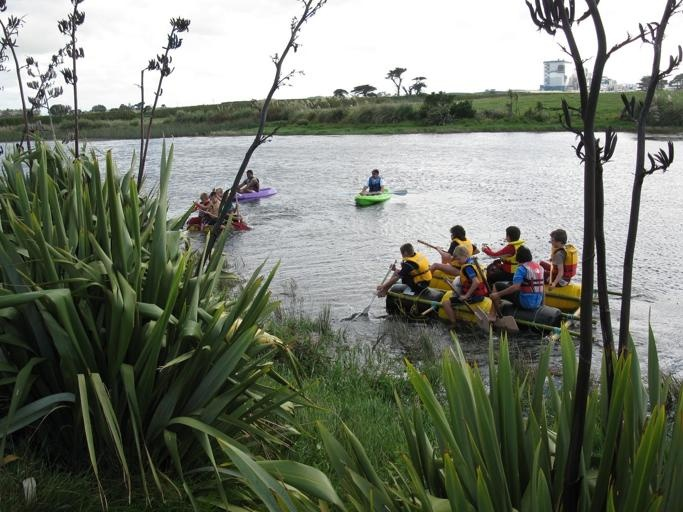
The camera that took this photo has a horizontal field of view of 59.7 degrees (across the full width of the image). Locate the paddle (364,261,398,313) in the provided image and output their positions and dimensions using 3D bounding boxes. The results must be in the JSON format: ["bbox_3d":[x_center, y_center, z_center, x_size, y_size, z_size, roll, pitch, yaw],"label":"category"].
[{"bbox_3d":[0.728,0.603,11.279,0.123,1.055,0.086,37,0,8],"label":"paddle"}]

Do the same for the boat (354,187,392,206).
[{"bbox_3d":[1.125,-2.165,22.023,1.651,0.600,0.872,-3,11,-32],"label":"boat"}]

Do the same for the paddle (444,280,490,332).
[{"bbox_3d":[1.940,0.796,9.558,0.300,0.509,0.943,18,16,-26],"label":"paddle"}]

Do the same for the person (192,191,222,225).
[{"bbox_3d":[-3.793,-1.413,16.962,0.606,0.968,1.704,1,10,-13],"label":"person"}]

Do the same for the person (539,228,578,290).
[{"bbox_3d":[3.770,0.025,10.210,0.472,1.009,0.859,6,10,19],"label":"person"}]
